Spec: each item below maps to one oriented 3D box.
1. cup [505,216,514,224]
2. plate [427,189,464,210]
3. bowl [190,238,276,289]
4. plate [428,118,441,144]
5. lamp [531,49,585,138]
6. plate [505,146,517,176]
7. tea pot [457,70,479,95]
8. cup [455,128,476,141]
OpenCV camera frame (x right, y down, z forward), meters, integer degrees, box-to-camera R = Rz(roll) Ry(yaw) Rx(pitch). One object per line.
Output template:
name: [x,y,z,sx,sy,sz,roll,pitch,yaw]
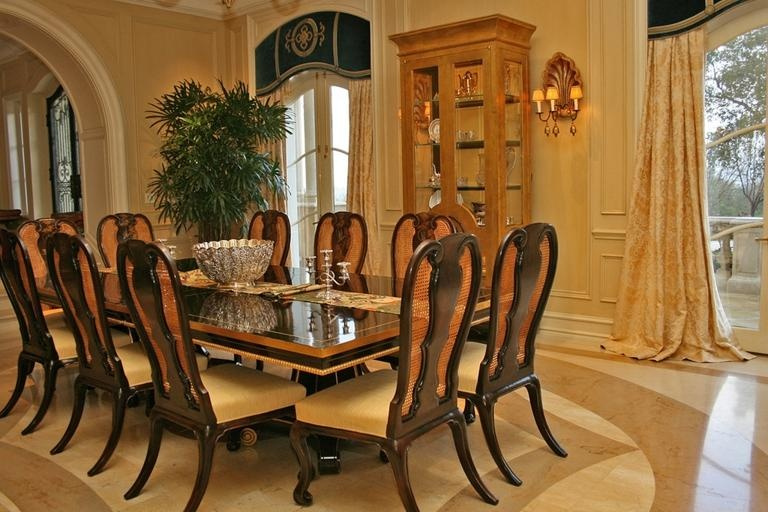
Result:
cup: [1.195,-0.350,5.502,0.047,0.087,0.046,-6,29,3]
plate: [0.586,-0.536,5.698,0.219,0.084,0.220,7,-32,-24]
bowl: [-1.104,0.082,4.314,0.557,0.306,0.562,-3,-1,0]
plate: [0.487,-1.230,5.623,0.193,0.198,0.046,29,20,37]
lamp: [1.676,-1.560,5.563,0.482,0.787,0.265,3,15,19]
plate: [1.211,-0.922,5.503,0.049,0.246,0.179,8,17,33]
tea pot: [0.791,-1.632,5.438,0.206,0.237,0.205,-1,8,0]
cup: [0.780,-1.147,5.485,0.140,0.085,0.139,-1,10,0]
